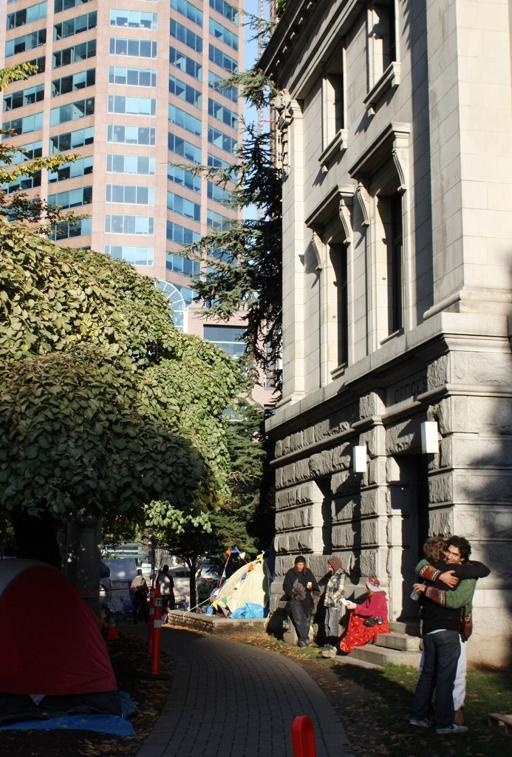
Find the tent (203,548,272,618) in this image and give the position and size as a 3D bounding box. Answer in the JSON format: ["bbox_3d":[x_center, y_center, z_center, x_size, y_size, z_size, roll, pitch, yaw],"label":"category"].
[{"bbox_3d":[-0.449,5.453,22.094,1.660,1.222,1.442,-1,-8,43],"label":"tent"}]

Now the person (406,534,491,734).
[{"bbox_3d":[1.463,1.918,6.381,0.527,1.444,0.655,1,-11,0],"label":"person"}]

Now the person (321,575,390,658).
[{"bbox_3d":[1.508,3.470,12.276,0.899,1.148,1.236,3,-11,-7],"label":"person"}]

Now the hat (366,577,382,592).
[{"bbox_3d":[1.714,2.936,12.125,0.165,0.172,0.233,3,30,-15],"label":"hat"}]

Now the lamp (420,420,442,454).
[{"bbox_3d":[2.231,0.726,10.684,0.223,0.433,0.276,2,-11,-5],"label":"lamp"}]

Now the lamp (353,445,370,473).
[{"bbox_3d":[1.708,1.274,13.588,0.223,0.465,0.291,1,-11,0],"label":"lamp"}]

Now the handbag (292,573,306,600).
[{"bbox_3d":[0.771,3.689,14.968,0.281,0.380,0.134,1,-19,1],"label":"handbag"}]

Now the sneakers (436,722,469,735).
[{"bbox_3d":[1.467,2.582,6.226,0.225,0.091,0.085,-4,1,-6],"label":"sneakers"}]

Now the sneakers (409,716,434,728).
[{"bbox_3d":[1.283,2.634,6.473,0.184,0.082,0.062,6,7,-13],"label":"sneakers"}]

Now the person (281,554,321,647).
[{"bbox_3d":[0.846,3.924,15.045,0.627,1.599,0.502,-1,9,14],"label":"person"}]
